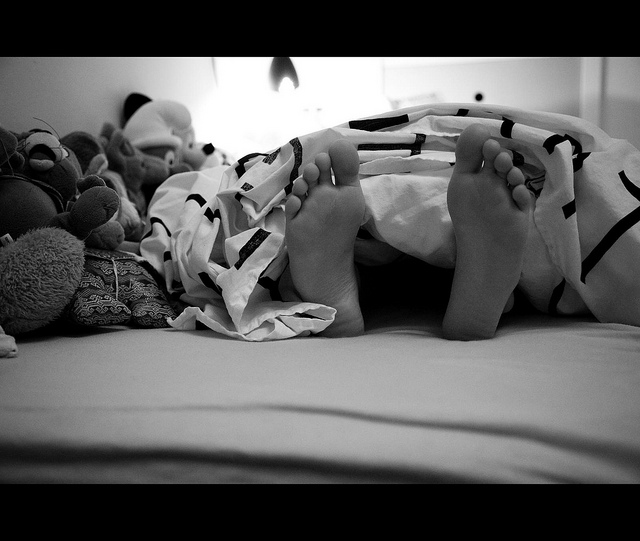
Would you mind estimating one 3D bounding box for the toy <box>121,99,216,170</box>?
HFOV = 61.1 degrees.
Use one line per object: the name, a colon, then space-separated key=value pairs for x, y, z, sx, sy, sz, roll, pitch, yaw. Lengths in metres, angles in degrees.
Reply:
toy: x=-0.495 y=-0.386 z=1.698 sx=0.299 sy=0.264 sz=0.260 roll=7 pitch=4 yaw=-16
